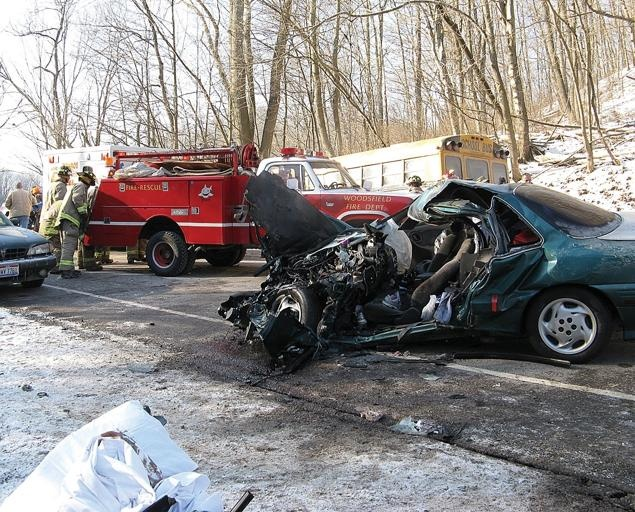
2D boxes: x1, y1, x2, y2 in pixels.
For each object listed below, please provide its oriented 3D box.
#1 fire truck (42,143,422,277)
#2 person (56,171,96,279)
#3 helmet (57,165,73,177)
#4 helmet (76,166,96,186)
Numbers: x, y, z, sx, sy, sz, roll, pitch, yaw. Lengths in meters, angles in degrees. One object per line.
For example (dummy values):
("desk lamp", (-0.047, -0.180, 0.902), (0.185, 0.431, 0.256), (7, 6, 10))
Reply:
("fire truck", (-1.786, -1.248, 11.578), (9.422, 2.629, 2.823), (3, 11, 30))
("person", (-5.650, -0.810, 11.035), (0.512, 2.573, 0.830), (0, 7, 16))
("helmet", (-6.507, -2.216, 12.246), (0.297, 0.239, 0.380), (14, 3, -33))
("helmet", (-5.559, -1.947, 11.412), (0.532, 0.249, 0.561), (2, 16, -36))
